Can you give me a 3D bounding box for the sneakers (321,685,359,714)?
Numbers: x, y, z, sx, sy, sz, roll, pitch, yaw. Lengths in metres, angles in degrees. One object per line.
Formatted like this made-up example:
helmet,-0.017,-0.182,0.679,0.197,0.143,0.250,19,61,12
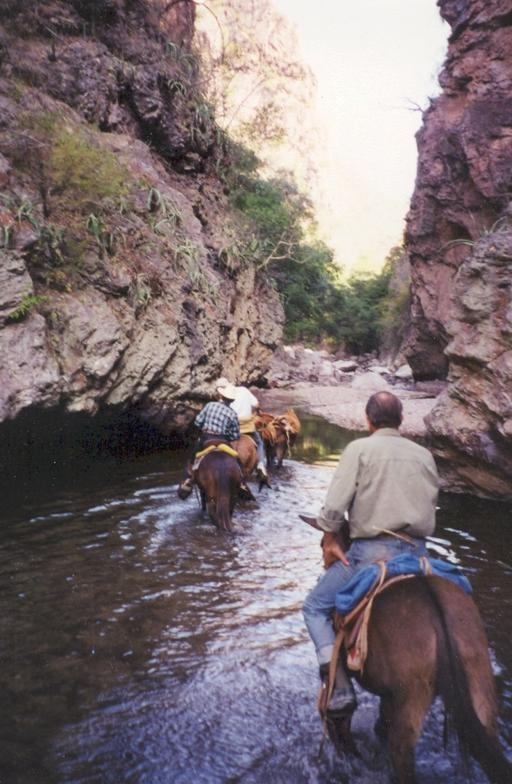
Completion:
sneakers,0.542,1.982,4.631,0.208,0.146,0.268,0,-6,-10
